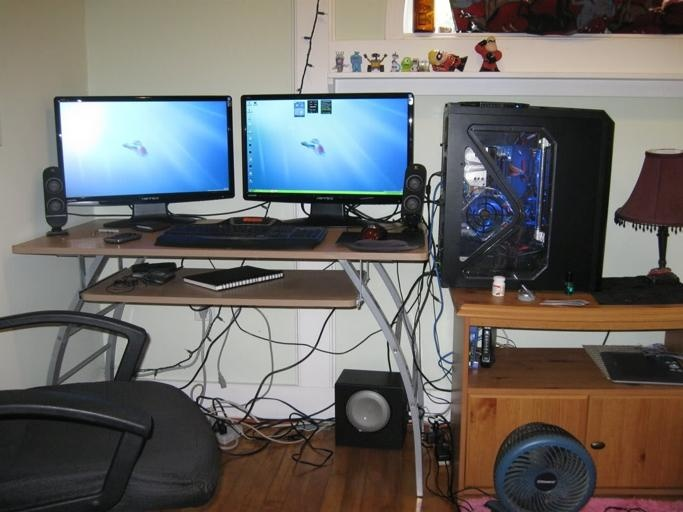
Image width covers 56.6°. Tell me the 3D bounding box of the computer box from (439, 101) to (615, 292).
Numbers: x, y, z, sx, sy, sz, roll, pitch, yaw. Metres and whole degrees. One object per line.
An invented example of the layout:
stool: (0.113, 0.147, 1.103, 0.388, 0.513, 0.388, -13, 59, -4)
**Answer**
computer box: (0.786, -0.281, 2.710, 0.683, 0.779, 0.455, 3, 18, 13)

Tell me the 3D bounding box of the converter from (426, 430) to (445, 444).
converter: (0.437, 0.849, 2.971, 0.102, 0.073, 0.058, -1, 0, 9)

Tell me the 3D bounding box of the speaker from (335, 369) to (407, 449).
speaker: (0.169, 0.685, 3.029, 0.430, 0.413, 0.294, 1, 7, 7)

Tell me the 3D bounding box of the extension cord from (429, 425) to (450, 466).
extension cord: (0.460, 0.871, 2.908, 0.058, 0.205, 0.105, -11, 36, -1)

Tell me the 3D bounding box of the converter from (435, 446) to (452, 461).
converter: (0.472, 0.888, 2.881, 0.051, 0.062, 0.089, 3, 3, 2)

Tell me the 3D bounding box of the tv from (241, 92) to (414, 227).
tv: (-0.063, -0.438, 2.824, 0.760, 0.586, 0.198, 1, 9, 5)

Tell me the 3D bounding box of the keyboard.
keyboard: (-0.394, -0.088, 2.605, 0.660, 0.063, 0.304, 1, 13, 4)
